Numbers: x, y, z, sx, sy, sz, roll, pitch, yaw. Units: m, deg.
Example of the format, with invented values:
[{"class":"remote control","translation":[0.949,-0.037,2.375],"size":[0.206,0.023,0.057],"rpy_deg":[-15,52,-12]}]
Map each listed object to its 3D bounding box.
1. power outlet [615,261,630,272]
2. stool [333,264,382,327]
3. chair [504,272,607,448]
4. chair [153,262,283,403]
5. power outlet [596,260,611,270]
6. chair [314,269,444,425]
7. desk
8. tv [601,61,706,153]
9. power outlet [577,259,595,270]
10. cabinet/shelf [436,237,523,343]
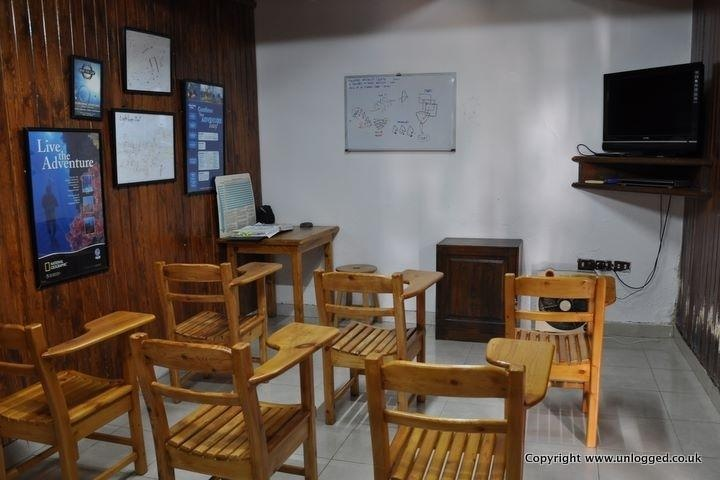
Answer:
[{"class":"power outlet","translation":[2.590,0.257,4.912],"size":[0.144,0.099,0.082],"rpy_deg":[2,3,24]},{"class":"stool","translation":[0.011,0.567,5.284],"size":[0.584,0.723,0.618],"rpy_deg":[-1,0,17]},{"class":"chair","translation":[1.350,0.754,3.498],"size":[0.789,1.091,0.786],"rpy_deg":[0,6,5]},{"class":"chair","translation":[-1.132,0.645,4.017],"size":[0.911,1.003,0.806],"rpy_deg":[1,6,23]},{"class":"power outlet","translation":[2.421,0.248,4.904],"size":[0.130,0.090,0.047],"rpy_deg":[2,-5,0]},{"class":"chair","translation":[0.168,0.740,3.631],"size":[0.941,1.079,0.812],"rpy_deg":[-2,3,5]},{"class":"desk","translation":[-0.816,0.355,5.324],"size":[0.884,0.897,1.105],"rpy_deg":[0,8,12]},{"class":"tv","translation":[2.637,-1.173,4.477],"size":[0.770,0.756,0.288],"rpy_deg":[10,25,44]},{"class":"power outlet","translation":[2.209,0.236,4.841],"size":[0.163,0.113,0.111],"rpy_deg":[2,8,12]},{"class":"cabinet/shelf","translation":[1.178,0.415,4.931],"size":[0.837,0.944,0.563],"rpy_deg":[0,20,10]}]
